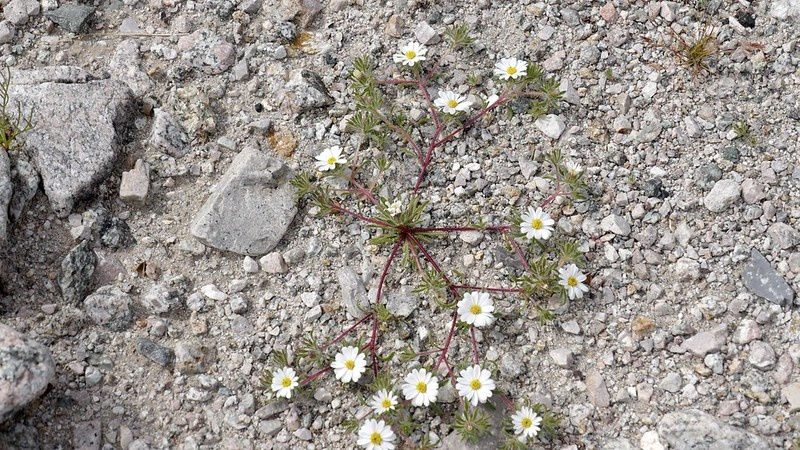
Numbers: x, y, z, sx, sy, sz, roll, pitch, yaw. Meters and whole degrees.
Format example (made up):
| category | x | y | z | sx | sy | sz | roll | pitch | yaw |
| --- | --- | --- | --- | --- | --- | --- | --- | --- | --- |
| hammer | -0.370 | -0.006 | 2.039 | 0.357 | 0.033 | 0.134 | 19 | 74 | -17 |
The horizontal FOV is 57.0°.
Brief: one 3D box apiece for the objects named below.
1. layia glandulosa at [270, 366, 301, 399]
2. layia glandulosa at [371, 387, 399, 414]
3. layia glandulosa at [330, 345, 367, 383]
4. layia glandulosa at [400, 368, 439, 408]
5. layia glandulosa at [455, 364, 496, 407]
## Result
| category | x | y | z | sx | sy | sz | roll | pitch | yaw |
| --- | --- | --- | --- | --- | --- | --- | --- | --- | --- |
| layia glandulosa | -0.948 | 1.305 | 6.027 | 0.224 | 0.258 | 0.276 | 20 | 85 | 4 |
| layia glandulosa | -0.134 | 1.423 | 5.927 | 0.217 | 0.241 | 0.201 | -13 | 84 | 1 |
| layia glandulosa | -0.413 | 1.134 | 5.984 | 0.253 | 0.227 | 0.289 | 39 | 87 | 5 |
| layia glandulosa | 0.166 | 1.301 | 5.857 | 0.274 | 0.098 | 0.271 | 36 | 87 | 5 |
| layia glandulosa | 0.596 | 1.272 | 5.866 | 0.291 | 0.129 | 0.292 | 31 | 86 | 4 |
